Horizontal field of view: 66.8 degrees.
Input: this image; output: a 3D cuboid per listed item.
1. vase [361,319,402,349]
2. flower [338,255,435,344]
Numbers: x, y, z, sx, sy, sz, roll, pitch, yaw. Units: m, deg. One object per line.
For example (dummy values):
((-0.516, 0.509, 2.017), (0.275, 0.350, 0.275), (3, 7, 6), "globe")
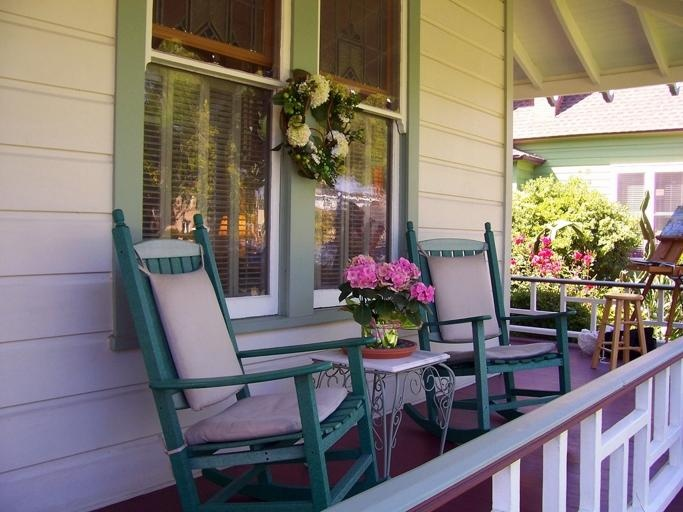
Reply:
((0.226, 0.435, 2.907), (0.157, 0.125, 0.171), (0, -7, 6), "vase")
((0.269, 0.223, 2.911), (0.473, 0.504, 0.489), (0, -3, 36), "flower")
